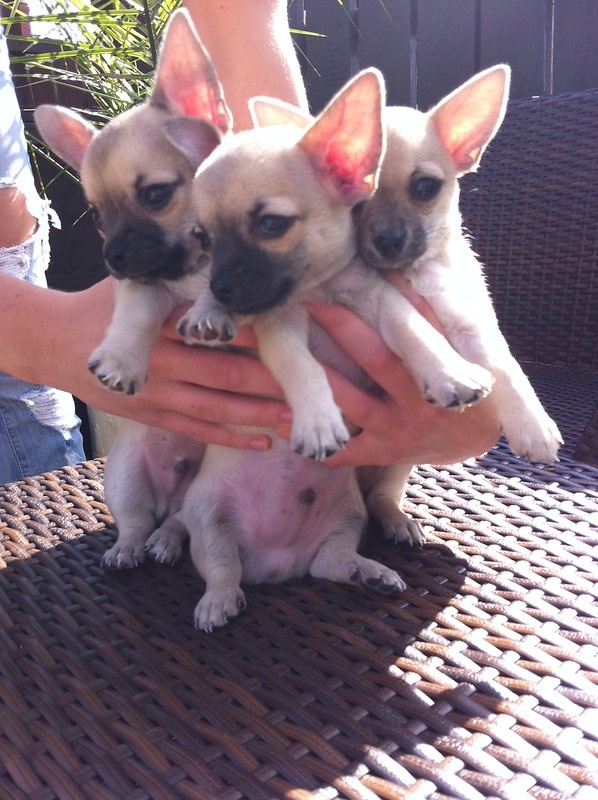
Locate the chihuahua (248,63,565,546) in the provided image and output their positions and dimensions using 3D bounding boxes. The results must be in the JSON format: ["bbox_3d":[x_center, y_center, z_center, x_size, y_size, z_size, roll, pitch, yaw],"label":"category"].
[{"bbox_3d":[0.201,-0.203,1.434,0.657,0.652,0.599,2,23,-3],"label":"chihuahua"}]

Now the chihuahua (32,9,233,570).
[{"bbox_3d":[-0.251,-0.145,1.352,0.377,0.799,0.391,-12,13,-5],"label":"chihuahua"}]
